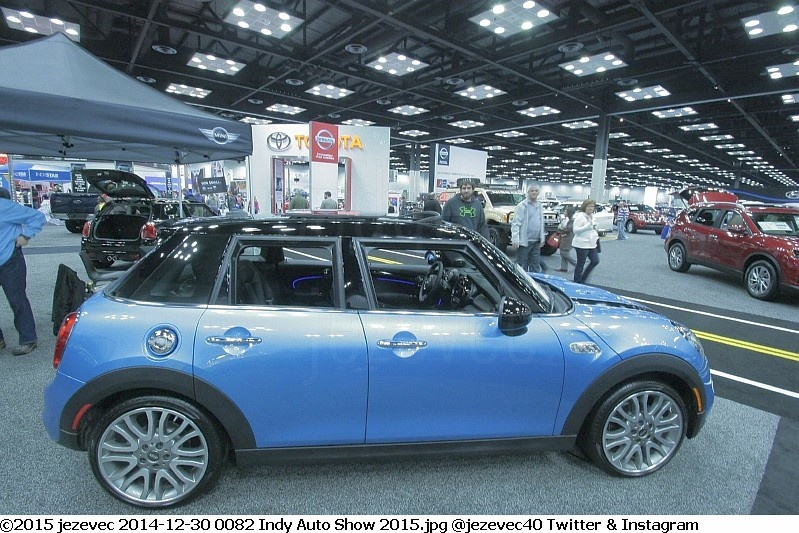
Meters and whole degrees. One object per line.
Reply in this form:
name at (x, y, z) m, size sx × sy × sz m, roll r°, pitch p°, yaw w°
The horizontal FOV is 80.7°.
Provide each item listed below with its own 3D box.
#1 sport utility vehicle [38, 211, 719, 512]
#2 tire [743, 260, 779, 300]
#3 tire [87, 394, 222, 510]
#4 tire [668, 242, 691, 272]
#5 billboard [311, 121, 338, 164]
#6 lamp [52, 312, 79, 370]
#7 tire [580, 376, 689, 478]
sport utility vehicle at (-0.020, 0.568, 4.895) m, size 5.892 × 1.900 × 2.645 m, roll -1°, pitch 9°, yaw -4°
tire at (6.814, 0.250, 8.841) m, size 0.298 × 0.787 × 0.732 m, roll 0°, pitch -5°, yaw -9°
tire at (-2.063, 1.514, 3.945) m, size 0.779 × 0.754 × 0.271 m, roll 32°, pitch 1°, yaw -3°
tire at (6.691, -0.243, 11.237) m, size 0.279 × 0.714 × 0.740 m, roll 0°, pitch 2°, yaw -8°
billboard at (-2.569, -4.128, 15.899) m, size 0.381 × 1.320 × 1.325 m, roll 10°, pitch 16°, yaw 29°
lamp at (-2.798, 0.610, 3.954) m, size 0.131 × 0.419 × 0.309 m, roll 12°, pitch 0°, yaw -11°
tire at (2.089, 1.410, 4.237) m, size 0.931 × 0.872 × 0.353 m, roll -3°, pitch 16°, yaw -12°
